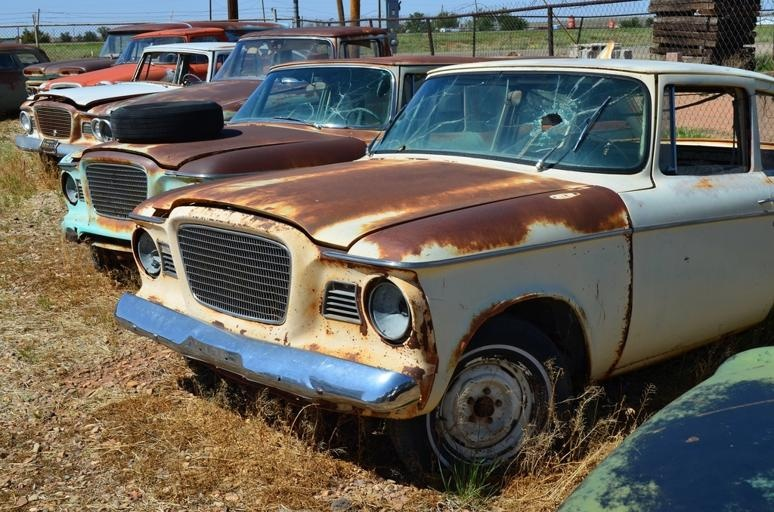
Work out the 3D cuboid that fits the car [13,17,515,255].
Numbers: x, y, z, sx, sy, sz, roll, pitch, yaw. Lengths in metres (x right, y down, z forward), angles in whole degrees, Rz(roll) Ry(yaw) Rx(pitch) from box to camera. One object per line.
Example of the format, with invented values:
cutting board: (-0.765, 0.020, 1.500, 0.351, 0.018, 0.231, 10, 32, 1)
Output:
car: (-0.990, -1.101, 6.684, 3.941, 1.477, 2.314, -7, 14, -33)
